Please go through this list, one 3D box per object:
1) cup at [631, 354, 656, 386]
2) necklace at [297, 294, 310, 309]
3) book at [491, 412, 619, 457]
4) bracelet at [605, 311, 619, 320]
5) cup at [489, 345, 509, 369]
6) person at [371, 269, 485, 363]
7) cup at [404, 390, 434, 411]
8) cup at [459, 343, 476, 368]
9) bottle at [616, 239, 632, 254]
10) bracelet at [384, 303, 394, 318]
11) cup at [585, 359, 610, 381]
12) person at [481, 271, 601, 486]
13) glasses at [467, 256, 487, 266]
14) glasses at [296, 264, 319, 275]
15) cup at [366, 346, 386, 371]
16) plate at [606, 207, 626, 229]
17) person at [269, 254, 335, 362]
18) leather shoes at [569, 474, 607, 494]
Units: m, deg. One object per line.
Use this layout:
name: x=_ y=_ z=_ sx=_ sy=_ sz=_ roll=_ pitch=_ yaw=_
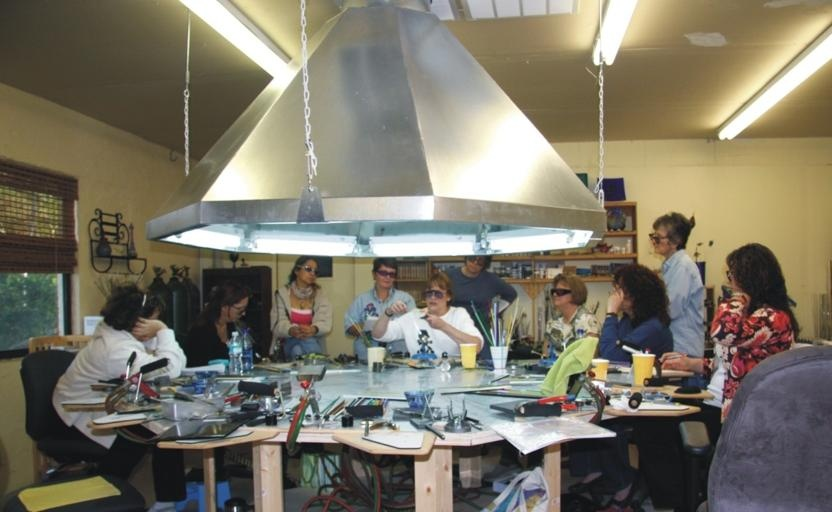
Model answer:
cup: x=1.713 y=0.854 z=5.045 sx=0.234 sy=0.228 sz=0.225 roll=1 pitch=-4 yaw=0
necklace: x=-1.153 y=0.474 z=6.873 sx=0.126 sy=0.114 sz=0.048 roll=2 pitch=-2 yaw=-33
book: x=0.951 y=1.174 z=4.435 sx=0.570 sy=0.060 sz=0.505 roll=-1 pitch=4 yaw=-20
bracelet: x=1.769 y=0.529 z=6.019 sx=0.090 sy=0.074 sz=0.100 roll=-2 pitch=0 yaw=-8
cup: x=0.689 y=0.829 z=5.441 sx=0.175 sy=0.168 sz=0.166 roll=-1 pitch=-6 yaw=0
person: x=0.098 y=0.767 z=5.914 sx=0.861 sy=0.973 sz=0.563 roll=-4 pitch=3 yaw=13
cup: x=0.022 y=0.955 z=4.403 sx=0.165 sy=0.107 sz=0.135 roll=-1 pitch=-14 yaw=3
cup: x=0.435 y=0.831 z=5.518 sx=0.180 sy=0.173 sz=0.179 roll=-2 pitch=-6 yaw=0
bottle: x=2.700 y=-0.134 z=8.656 sx=0.047 sy=0.181 sz=0.190 roll=6 pitch=0 yaw=-2
bracelet: x=-0.222 y=0.481 z=5.853 sx=0.040 sy=0.107 sz=0.093 roll=7 pitch=37 yaw=-34
cup: x=1.345 y=0.848 z=4.901 sx=0.215 sy=0.186 sz=0.205 roll=0 pitch=-7 yaw=0
person: x=1.332 y=0.842 z=6.172 sx=0.547 sy=1.449 sz=0.524 roll=19 pitch=37 yaw=37
glasses: x=0.624 y=0.034 z=6.782 sx=0.120 sy=0.038 sz=0.119 roll=3 pitch=20 yaw=-3
glasses: x=-1.070 y=0.136 z=6.695 sx=0.235 sy=0.098 sz=0.152 roll=6 pitch=-13 yaw=-35
cup: x=-0.331 y=0.838 z=5.439 sx=0.131 sy=0.158 sz=0.191 roll=1 pitch=0 yaw=5
plate: x=2.606 y=-0.497 z=8.680 sx=0.225 sy=0.300 sz=0.098 roll=-3 pitch=-11 yaw=9
person: x=-1.144 y=0.510 z=6.668 sx=0.604 sy=1.047 sz=1.286 roll=1 pitch=-11 yaw=-12
leather shoes: x=1.370 y=1.841 z=5.343 sx=0.226 sy=0.068 sz=0.218 roll=-12 pitch=-2 yaw=1
